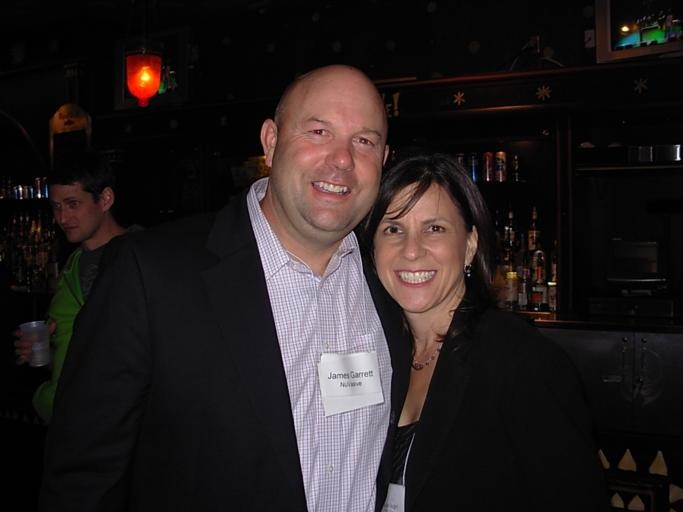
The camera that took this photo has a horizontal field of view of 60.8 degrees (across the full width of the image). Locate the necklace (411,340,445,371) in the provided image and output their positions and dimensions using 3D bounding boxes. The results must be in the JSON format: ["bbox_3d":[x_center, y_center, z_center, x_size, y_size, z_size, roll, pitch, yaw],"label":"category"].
[{"bbox_3d":[0.416,0.471,2.777,0.123,0.147,0.054,44,12,18],"label":"necklace"}]
